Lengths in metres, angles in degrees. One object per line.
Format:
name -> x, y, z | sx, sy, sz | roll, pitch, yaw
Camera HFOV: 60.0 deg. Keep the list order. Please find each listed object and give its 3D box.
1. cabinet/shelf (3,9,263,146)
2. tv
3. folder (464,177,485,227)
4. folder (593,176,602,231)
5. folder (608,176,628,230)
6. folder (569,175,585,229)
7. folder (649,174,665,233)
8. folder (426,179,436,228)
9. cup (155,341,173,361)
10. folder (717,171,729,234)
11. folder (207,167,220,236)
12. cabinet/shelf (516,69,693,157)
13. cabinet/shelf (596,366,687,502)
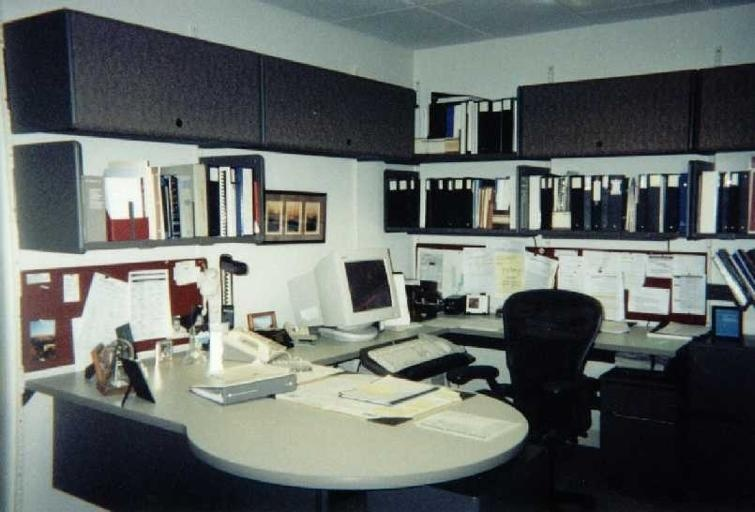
cabinet/shelf -> -1.363, -0.949, 3.561 | 0.338, 0.385, 0.962 | 5, 9, 36
tv -> -0.212, 0.264, 4.658 | 0.715, 0.585, 0.753 | -4, 1, -24
folder -> 0.813, -0.419, 5.058 | 0.204, 0.485, 0.050 | -2, 39, 9
folder -> 1.559, -0.371, 4.611 | 0.079, 0.377, 0.049 | 4, 11, 16
folder -> 1.682, -0.368, 4.553 | 0.131, 0.378, 0.056 | 5, 11, 18
folder -> 1.424, -0.388, 4.721 | 0.134, 0.390, 0.105 | -4, 6, -23
folder -> 1.919, -0.364, 4.471 | 0.111, 0.376, 0.037 | 5, 11, 20
folder -> 0.446, -0.421, 5.285 | 0.102, 0.410, 0.098 | 3, 13, 15
cup -> -1.246, 0.555, 3.826 | 0.066, 0.122, 0.127 | 2, 2, 37
folder -> 2.334, -0.333, 4.376 | 0.083, 0.450, 0.078 | -9, 14, -14
folder -> -0.960, -0.324, 3.851 | 0.040, 0.405, 0.099 | 7, 12, 27
cabinet/shelf -> 1.595, -1.186, 4.825 | 1.331, 0.611, 0.719 | 2, 41, 27
cabinet/shelf -> 1.745, 1.227, 4.329 | 0.632, 0.880, 0.602 | 11, -32, 7
